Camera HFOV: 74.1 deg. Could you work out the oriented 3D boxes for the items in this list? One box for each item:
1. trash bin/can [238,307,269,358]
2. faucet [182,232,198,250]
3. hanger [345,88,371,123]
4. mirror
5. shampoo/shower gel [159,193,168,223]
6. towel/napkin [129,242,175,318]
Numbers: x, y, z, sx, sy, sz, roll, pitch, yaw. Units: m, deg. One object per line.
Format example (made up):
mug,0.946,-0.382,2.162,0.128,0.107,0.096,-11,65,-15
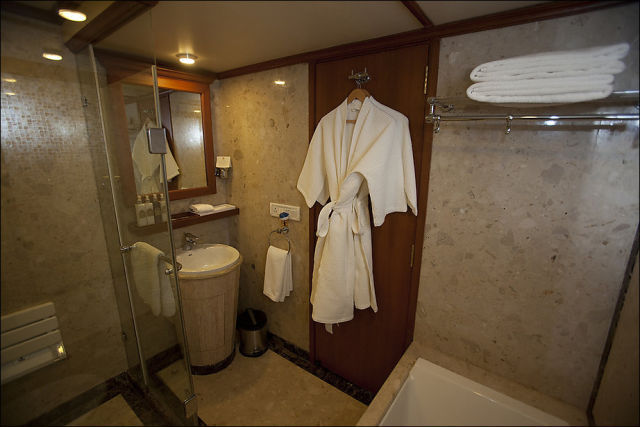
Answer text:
trash bin/can,-0.563,0.956,3.599,0.290,0.358,0.351,-5,26,-12
faucet,-1.048,0.220,3.388,0.120,0.127,0.088,13,21,28
hanger,0.257,-0.709,2.785,0.182,0.262,0.027,25,37,36
mirror,-1.060,-0.554,2.784,0.117,1.166,0.930,12,18,39
shampoo/shower gel,-0.884,-0.037,2.388,0.057,0.162,0.015,8,15,31
towel/napkin,-0.989,0.377,2.508,0.340,0.485,0.127,17,27,36
